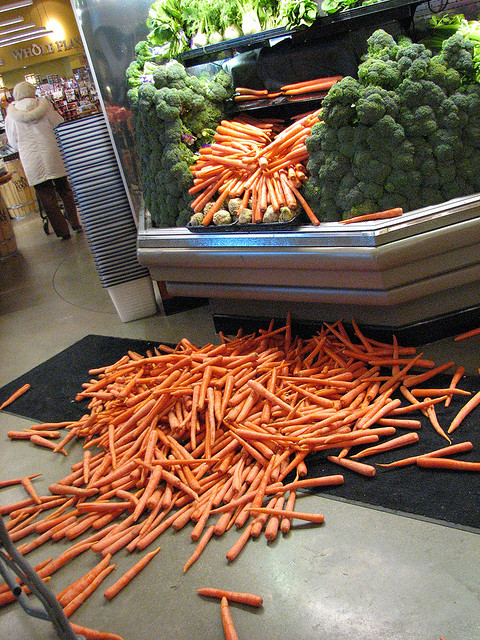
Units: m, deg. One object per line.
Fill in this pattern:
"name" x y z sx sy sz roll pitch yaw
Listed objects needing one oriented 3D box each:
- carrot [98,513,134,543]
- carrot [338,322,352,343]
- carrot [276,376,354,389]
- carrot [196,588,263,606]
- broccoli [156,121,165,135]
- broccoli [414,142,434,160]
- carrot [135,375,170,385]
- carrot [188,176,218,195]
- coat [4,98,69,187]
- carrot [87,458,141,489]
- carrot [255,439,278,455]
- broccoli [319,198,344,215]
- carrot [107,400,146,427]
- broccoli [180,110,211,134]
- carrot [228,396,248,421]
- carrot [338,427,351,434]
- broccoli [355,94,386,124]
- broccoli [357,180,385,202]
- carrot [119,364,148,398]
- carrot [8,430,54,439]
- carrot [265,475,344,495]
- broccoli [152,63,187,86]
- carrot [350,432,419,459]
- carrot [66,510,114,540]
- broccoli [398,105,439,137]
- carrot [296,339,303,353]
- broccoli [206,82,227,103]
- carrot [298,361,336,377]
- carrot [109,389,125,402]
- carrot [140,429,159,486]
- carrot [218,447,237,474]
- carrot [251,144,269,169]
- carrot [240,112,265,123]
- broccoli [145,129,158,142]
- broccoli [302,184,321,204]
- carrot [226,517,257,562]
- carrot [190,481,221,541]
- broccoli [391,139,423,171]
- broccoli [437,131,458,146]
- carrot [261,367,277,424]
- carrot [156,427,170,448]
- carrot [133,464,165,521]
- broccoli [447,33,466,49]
"carrot" -0.383 0.634 1.382 0.106 0.016 0.015 -37 30 -26
"carrot" 0.440 0.048 1.947 0.020 0.021 0.119 16 33 -29
"carrot" 0.294 0.236 1.727 0.253 0.039 0.038 2 36 30
"carrot" -0.021 0.668 1.095 0.164 0.029 0.030 3 42 18
"broccoli" -0.435 -1.048 2.459 0.045 0.057 0.015 8 26 5
"broccoli" 0.726 -0.669 1.789 0.062 0.055 0.024 4 21 31
"carrot" -0.383 0.258 1.969 0.160 0.031 0.033 -6 4 0
"carrot" -0.192 -0.709 2.385 0.203 0.037 0.043 -28 18 26
"coat" -2.355 -2.082 5.237 0.591 0.905 0.488 -19 24 -15
"carrot" -0.431 0.530 1.560 0.183 0.025 0.033 -31 70 -21
"carrot" 0.084 0.405 1.500 0.090 0.027 0.028 25 17 40
"broccoli" 0.401 -0.498 1.992 0.032 0.066 0.086 -50 14 -22
"carrot" -0.452 0.375 1.816 0.175 0.030 0.026 -34 2 -15
"broccoli" -0.254 -1.118 2.536 0.117 0.142 0.069 0 22 -13
"carrot" -0.009 0.316 1.635 0.023 0.020 0.113 32 35 10
"carrot" 0.343 0.360 1.486 0.047 0.013 0.013 -18 34 -27
"broccoli" 0.508 -0.818 1.756 0.083 0.106 0.059 -11 50 9
"broccoli" 0.537 -0.537 1.864 0.072 0.095 0.039 -47 15 34
"carrot" -0.466 0.260 1.995 0.029 0.033 0.206 -27 19 44
"carrot" -0.937 0.512 2.037 0.169 0.029 0.038 -1 10 20
"carrot" 0.195 0.498 1.369 0.213 0.032 0.031 -7 57 -8
"broccoli" -0.378 -1.318 2.461 0.149 0.082 0.114 -29 30 -11
"carrot" 0.460 0.399 1.443 0.188 0.029 0.034 -17 -1 -2
"carrot" -0.469 0.644 1.422 0.141 0.034 0.032 -25 49 -35
"broccoli" 0.690 -0.775 1.767 0.104 0.134 0.070 -4 43 5
"carrot" 0.264 0.113 2.025 0.016 0.020 0.075 8 49 13
"broccoli" -0.136 -1.291 2.558 0.108 0.098 0.043 29 -7 0
"carrot" 0.313 0.198 1.832 0.099 0.016 0.023 -22 -2 -24
"carrot" -0.532 0.325 1.960 0.013 0.018 0.073 -43 35 -25
"carrot" -0.307 0.468 1.580 0.027 0.026 0.172 -37 29 38
"carrot" -0.044 0.458 1.484 0.021 0.022 0.104 21 31 10
"carrot" 0.094 -0.843 2.320 0.047 0.051 0.223 -4 49 -11
"carrot" 0.073 -1.187 2.659 0.165 0.033 0.024 35 21 10
"broccoli" -0.499 -1.024 2.514 0.061 0.060 0.017 6 19 28
"broccoli" 0.329 -0.571 2.059 0.035 0.086 0.098 -22 25 -22
"carrot" 0.019 0.589 1.268 0.025 0.028 0.180 17 40 26
"carrot" -0.092 0.572 1.383 0.029 0.029 0.199 -42 7 35
"broccoli" 0.656 -0.648 1.800 0.106 0.122 0.047 -20 -16 13
"broccoli" 0.812 -0.708 1.773 0.058 0.020 0.049 8 65 -2
"carrot" 0.108 0.273 1.683 0.031 0.034 0.216 -18 50 39
"carrot" -0.287 0.417 1.676 0.028 0.024 0.107 -31 50 -12
"carrot" -0.286 0.531 1.484 0.038 0.039 0.228 -14 41 36
"broccoli" 0.855 -1.119 1.806 0.057 0.040 0.072 -33 35 18
